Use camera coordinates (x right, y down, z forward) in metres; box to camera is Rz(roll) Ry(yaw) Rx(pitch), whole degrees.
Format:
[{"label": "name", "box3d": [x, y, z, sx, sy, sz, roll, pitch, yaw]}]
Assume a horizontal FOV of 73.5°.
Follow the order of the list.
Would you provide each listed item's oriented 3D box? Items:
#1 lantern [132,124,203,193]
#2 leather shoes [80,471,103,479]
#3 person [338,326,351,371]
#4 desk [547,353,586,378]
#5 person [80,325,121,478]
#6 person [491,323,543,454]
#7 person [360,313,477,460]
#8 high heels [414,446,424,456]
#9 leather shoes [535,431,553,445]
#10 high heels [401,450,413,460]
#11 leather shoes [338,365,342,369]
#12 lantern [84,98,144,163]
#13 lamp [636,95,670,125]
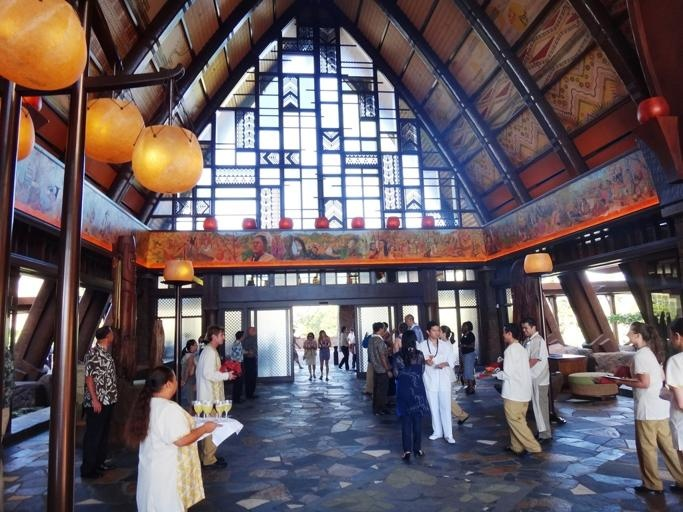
[{"label": "lantern", "box3d": [-1.438, -0.741, 3.845, 0.492, 0.561, 0.542, 1, 4, -8]}, {"label": "leather shoes", "box3d": [-3.105, 2.698, 5.664, 0.237, 0.072, 0.183, 2, -7, -31]}, {"label": "person", "box3d": [0.064, 3.177, 15.907, 0.363, 1.431, 0.722, -1, -5, -1]}, {"label": "desk", "box3d": [4.964, 2.449, 10.114, 0.734, 0.601, 0.760, 3, -6, 8]}, {"label": "person", "box3d": [-3.101, 1.824, 5.840, 0.369, 1.843, 0.445, 2, -6, -30]}, {"label": "person", "box3d": [2.315, 1.764, 6.134, 0.517, 1.685, 0.348, -1, -5, -4]}, {"label": "person", "box3d": [1.232, 1.817, 6.511, 0.601, 1.749, 1.639, -3, -6, 23]}, {"label": "high heels", "box3d": [1.022, 2.585, 6.121, 0.070, 0.113, 0.146, -1, -1, 22]}, {"label": "leather shoes", "box3d": [2.895, 2.614, 6.534, 0.173, 0.210, 0.133, 1, -2, 6]}, {"label": "high heels", "box3d": [0.871, 2.589, 6.013, 0.185, 0.110, 0.165, 0, -6, -15]}, {"label": "leather shoes", "box3d": [-0.072, 3.917, 16.096, 0.048, 0.158, 0.108, 13, -22, -36]}, {"label": "lantern", "box3d": [-1.884, -1.094, 3.798, 0.445, 0.579, 0.406, 1, -6, -22]}, {"label": "lamp", "box3d": [3.429, -1.639, 5.017, 0.310, 0.358, 0.216, 0, -5, -14]}]
